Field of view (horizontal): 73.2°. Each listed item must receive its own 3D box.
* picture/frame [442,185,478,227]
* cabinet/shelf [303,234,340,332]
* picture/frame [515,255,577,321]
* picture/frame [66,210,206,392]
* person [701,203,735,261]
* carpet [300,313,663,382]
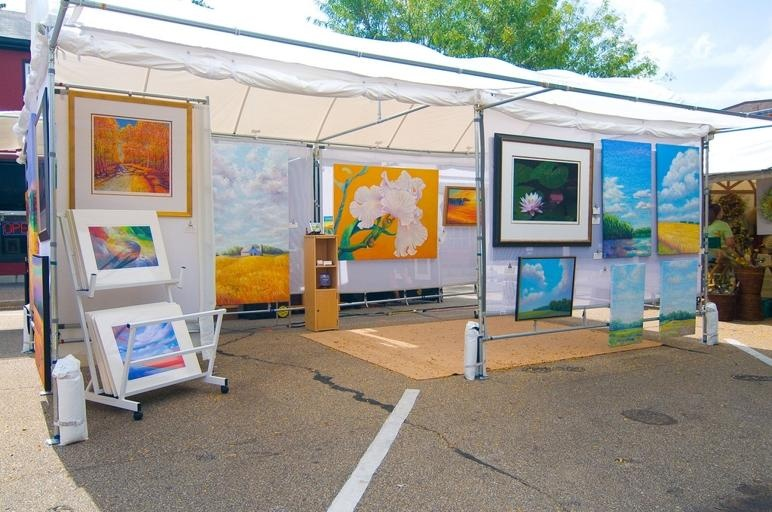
[{"bbox_3d":[1.965,-1.320,13.425,1.128,1.037,0.093,-2,7,-28],"label":"picture/frame"},{"bbox_3d":[-1.311,0.496,10.728,0.681,1.896,0.630,-3,5,-40],"label":"cabinet/shelf"},{"bbox_3d":[2.501,0.491,8.181,1.284,1.005,0.116,0,6,-33],"label":"picture/frame"},{"bbox_3d":[-3.267,0.609,7.026,1.635,2.476,1.706,-7,13,-31],"label":"picture/frame"},{"bbox_3d":[7.800,-0.535,12.211,0.496,1.251,0.903,3,11,17],"label":"person"},{"bbox_3d":[1.550,1.510,9.752,5.397,0.363,3.630,-4,11,-24],"label":"carpet"}]
